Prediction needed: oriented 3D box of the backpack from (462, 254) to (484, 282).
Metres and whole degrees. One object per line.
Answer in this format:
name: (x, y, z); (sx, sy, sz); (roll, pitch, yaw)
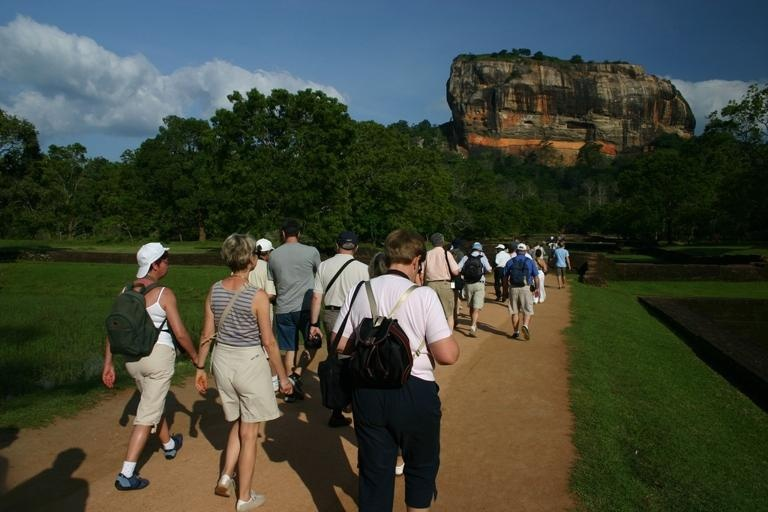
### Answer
backpack: (2.085, 0.292, 12.753); (0.460, 0.672, 0.360); (6, -19, 21)

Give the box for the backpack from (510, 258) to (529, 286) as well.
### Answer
backpack: (3.091, 0.377, 12.460); (0.427, 0.653, 0.177); (6, 13, 16)

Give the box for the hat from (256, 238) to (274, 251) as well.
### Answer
hat: (-2.038, -0.192, 9.396); (0.206, 0.129, 0.304); (1, 4, -6)

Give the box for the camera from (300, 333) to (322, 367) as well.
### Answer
camera: (-1.072, 1.333, 8.397); (0.143, 0.159, 0.487); (-13, 13, 32)

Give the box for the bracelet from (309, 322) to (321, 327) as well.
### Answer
bracelet: (-1.075, 1.051, 8.437); (0.171, 0.093, 0.164); (2, 0, -21)

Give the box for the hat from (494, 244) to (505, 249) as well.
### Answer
hat: (3.675, -0.311, 17.286); (0.234, 0.072, 0.244); (-3, -8, 36)

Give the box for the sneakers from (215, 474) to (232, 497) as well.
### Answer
sneakers: (-2.029, 2.919, 6.961); (0.147, 0.168, 0.355); (1, -24, -5)

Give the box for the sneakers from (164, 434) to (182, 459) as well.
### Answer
sneakers: (-2.981, 2.683, 7.710); (0.147, 0.190, 0.437); (-3, 21, 6)

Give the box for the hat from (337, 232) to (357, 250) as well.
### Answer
hat: (-0.529, -0.273, 8.466); (0.316, 0.263, 0.527); (7, 5, -3)

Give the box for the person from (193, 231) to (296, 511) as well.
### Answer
person: (-1.794, 1.453, 6.999); (0.894, 3.348, 0.973); (-9, 16, -41)
